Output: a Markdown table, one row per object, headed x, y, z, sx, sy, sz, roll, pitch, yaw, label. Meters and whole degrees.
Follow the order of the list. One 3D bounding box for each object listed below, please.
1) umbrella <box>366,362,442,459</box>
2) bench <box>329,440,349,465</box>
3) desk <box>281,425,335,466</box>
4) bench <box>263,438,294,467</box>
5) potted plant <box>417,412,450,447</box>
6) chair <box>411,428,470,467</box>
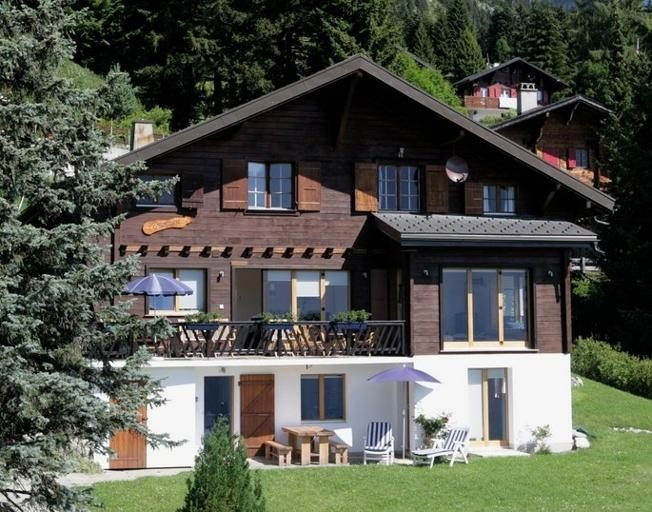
| x | y | z | sx | sy | sz | roll | pitch | yaw | label |
| --- | --- | --- | --- | --- | --- | --- | --- | --- | --- |
| 3.066 | 5.932 | 62.247 | 2.621 | 3.674 | 2.313 | 0 | -8 | 1 | umbrella |
| 0.517 | 7.631 | 62.227 | 0.770 | 0.902 | 1.684 | 0 | -8 | 0 | bench |
| -0.745 | 7.322 | 62.140 | 1.637 | 1.422 | 1.509 | 5 | -4 | -13 | desk |
| -1.810 | 7.576 | 61.989 | 0.772 | 0.993 | 1.631 | 3 | -9 | -18 | bench |
| 4.180 | 6.752 | 62.985 | 1.346 | 1.578 | 1.095 | 1 | 0 | 3 | potted plant |
| 4.482 | 7.331 | 61.789 | 2.031 | 1.582 | 1.736 | 0 | -8 | 1 | chair |
